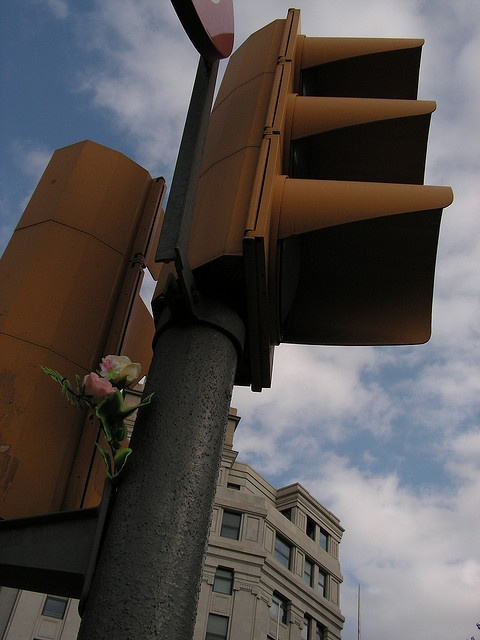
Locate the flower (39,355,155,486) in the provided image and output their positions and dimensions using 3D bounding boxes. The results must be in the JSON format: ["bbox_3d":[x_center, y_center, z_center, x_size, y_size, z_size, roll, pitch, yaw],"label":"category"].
[{"bbox_3d":[-0.920,0.692,3.640,0.579,0.900,0.451,10,-38,-22],"label":"flower"}]
